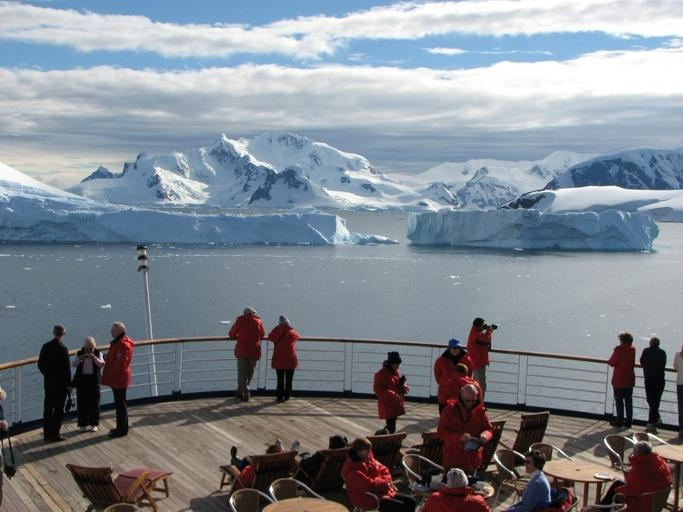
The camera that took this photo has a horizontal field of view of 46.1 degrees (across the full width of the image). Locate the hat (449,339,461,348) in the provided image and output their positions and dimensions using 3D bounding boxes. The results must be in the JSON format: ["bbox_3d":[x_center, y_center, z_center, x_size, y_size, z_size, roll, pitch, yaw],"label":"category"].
[{"bbox_3d":[1.642,1.228,11.476,0.146,0.136,0.294,2,5,21],"label":"hat"}]

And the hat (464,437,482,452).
[{"bbox_3d":[1.651,2.326,9.967,0.232,0.183,0.152,0,5,4],"label":"hat"}]

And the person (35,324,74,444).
[{"bbox_3d":[-3.973,1.855,11.291,0.397,1.573,0.307,-2,5,-18],"label":"person"}]

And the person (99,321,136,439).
[{"bbox_3d":[-3.199,1.775,11.678,0.447,1.684,0.576,-2,5,-14],"label":"person"}]

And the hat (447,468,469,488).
[{"bbox_3d":[1.345,2.534,9.140,0.273,0.224,0.172,-1,5,-9],"label":"hat"}]

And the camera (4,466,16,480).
[{"bbox_3d":[-3.921,2.565,9.588,0.118,0.153,0.218,-2,5,-21],"label":"camera"}]

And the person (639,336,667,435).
[{"bbox_3d":[4.850,1.948,12.521,0.366,1.471,0.835,2,5,21],"label":"person"}]

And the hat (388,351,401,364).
[{"bbox_3d":[0.769,1.438,11.389,0.182,0.121,0.159,-10,7,-4],"label":"hat"}]
